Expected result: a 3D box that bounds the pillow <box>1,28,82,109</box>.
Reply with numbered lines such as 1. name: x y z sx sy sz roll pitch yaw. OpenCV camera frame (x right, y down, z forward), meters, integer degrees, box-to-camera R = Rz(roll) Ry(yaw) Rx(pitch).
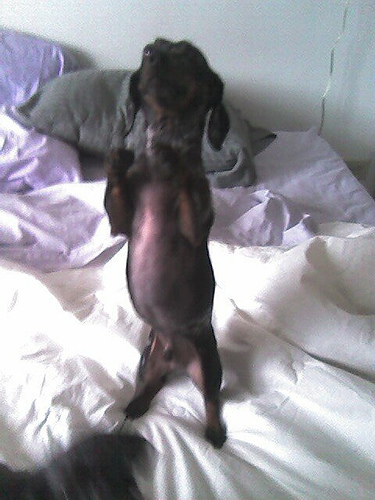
1. pillow: -0.268 -0.320 1.009 0.182 0.096 0.041 13 14 42
